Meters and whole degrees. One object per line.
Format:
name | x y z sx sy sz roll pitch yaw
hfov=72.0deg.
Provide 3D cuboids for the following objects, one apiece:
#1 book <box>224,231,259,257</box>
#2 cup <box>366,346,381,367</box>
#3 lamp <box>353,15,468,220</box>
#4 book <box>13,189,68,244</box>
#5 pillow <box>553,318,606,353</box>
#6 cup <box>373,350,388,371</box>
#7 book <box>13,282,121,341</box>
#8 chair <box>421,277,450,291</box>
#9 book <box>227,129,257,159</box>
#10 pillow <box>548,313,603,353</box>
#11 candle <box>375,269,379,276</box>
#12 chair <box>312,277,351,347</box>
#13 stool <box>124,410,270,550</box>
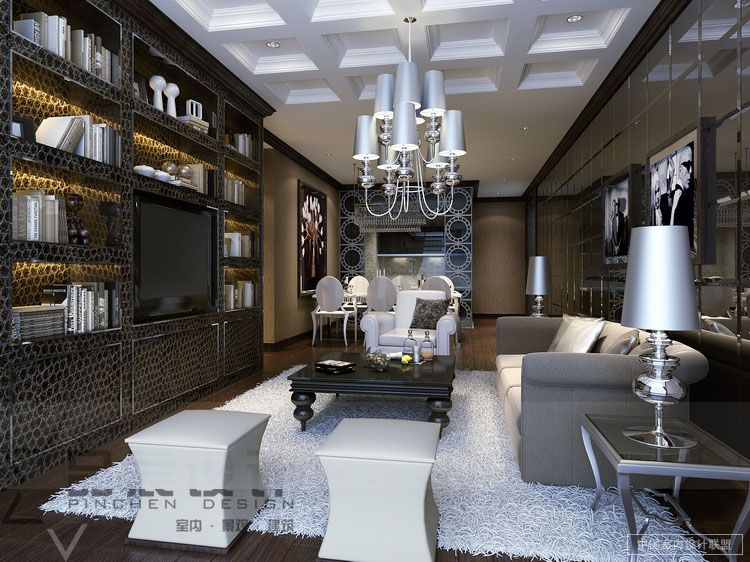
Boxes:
book | -1.576 -0.431 5.983 0.072 0.298 0.318 1 0 34
cup | -0.018 0.665 4.511 0.135 0.191 0.068 -3 -6 11
lamp | 0.289 -1.541 4.710 0.958 1.857 1.007 0 1 -1
book | -2.325 -0.441 3.568 0.268 0.370 0.338 -4 10 -23
pillow | 1.707 0.442 4.286 0.099 0.396 0.413 34 -17 -17
cup | 0.036 0.681 4.421 0.120 0.127 0.144 2 2 6
book | -2.322 0.227 3.817 0.276 0.392 0.888 3 10 18
chair | 1.049 0.040 8.909 0.476 0.235 0.393 1 9 6
book | -1.564 -1.609 6.040 0.101 0.294 0.288 0 8 33
pillow | 1.695 0.431 4.307 0.103 0.414 0.426 31 -13 -22
candle | 0.043 -0.205 11.234 0.086 0.169 0.165 1 0 12
chair | -0.752 0.427 8.710 0.653 1.069 0.691 0 7 -15
stool | -1.028 1.065 3.117 0.607 0.649 0.753 -1 -4 9
